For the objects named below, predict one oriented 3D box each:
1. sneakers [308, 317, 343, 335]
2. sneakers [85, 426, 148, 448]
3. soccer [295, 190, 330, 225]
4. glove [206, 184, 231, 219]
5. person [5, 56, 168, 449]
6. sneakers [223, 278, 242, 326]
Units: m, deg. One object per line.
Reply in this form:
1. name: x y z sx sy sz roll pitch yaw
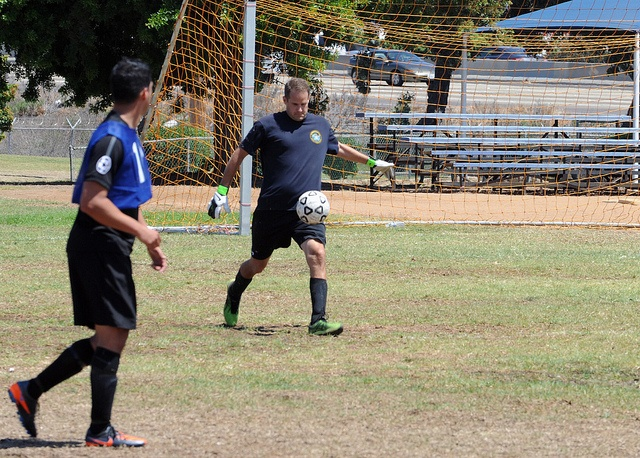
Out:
1. sneakers: 0.052 1.159 12.159 0.421 0.152 0.161 -1 -1 5
2. sneakers: -2.043 2.071 10.287 0.567 0.165 0.223 0 -5 -6
3. soccer: -0.094 -0.254 12.122 0.413 0.341 0.408 -1 -3 40
4. glove: -1.201 -0.306 12.509 0.315 0.382 0.153 -20 -39 27
5. person: -2.147 0.225 10.179 1.221 3.812 0.526 6 7 -7
6. sneakers: -1.087 0.911 12.458 0.202 0.481 0.239 -4 8 -25
